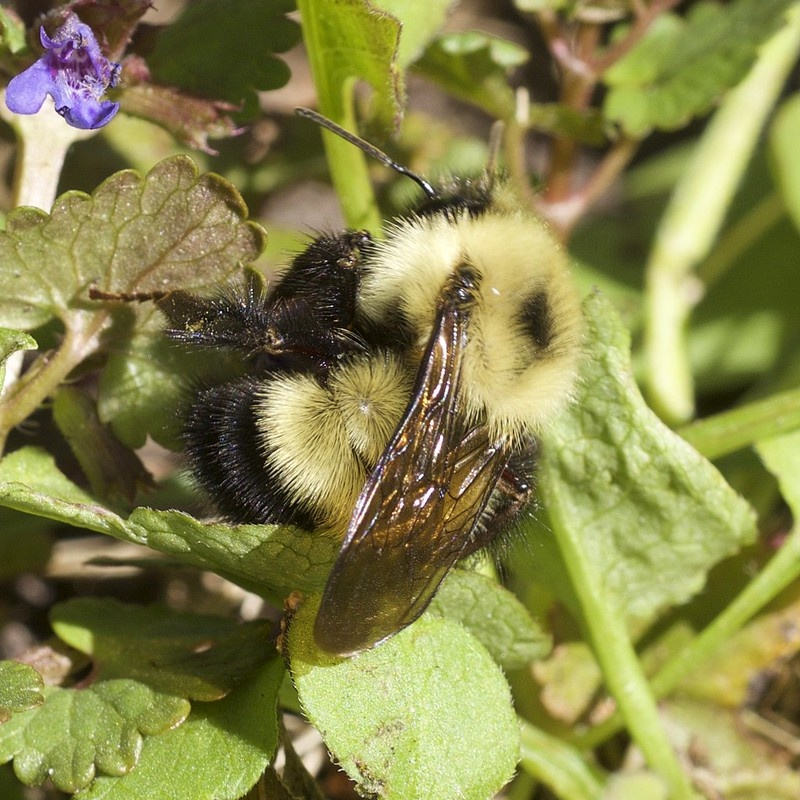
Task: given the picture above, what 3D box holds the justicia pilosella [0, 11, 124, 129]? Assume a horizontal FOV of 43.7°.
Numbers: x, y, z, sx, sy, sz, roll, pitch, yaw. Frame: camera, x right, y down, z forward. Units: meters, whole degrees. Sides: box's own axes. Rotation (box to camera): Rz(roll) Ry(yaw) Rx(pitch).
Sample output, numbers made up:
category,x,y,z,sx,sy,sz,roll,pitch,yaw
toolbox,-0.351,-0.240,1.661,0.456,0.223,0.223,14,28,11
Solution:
category,x,y,z,sx,sy,sz,roll,pitch,yaw
justicia pilosella,-0.336,-0.330,1.004,0.100,0.116,0.127,-1,68,-11
